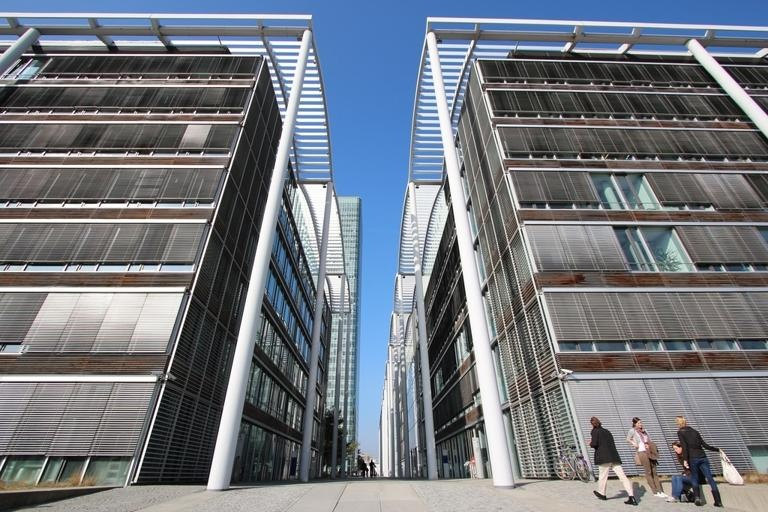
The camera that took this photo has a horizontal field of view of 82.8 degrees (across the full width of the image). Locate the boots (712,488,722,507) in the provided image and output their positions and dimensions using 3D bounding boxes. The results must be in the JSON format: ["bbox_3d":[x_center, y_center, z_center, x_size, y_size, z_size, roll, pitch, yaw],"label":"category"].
[{"bbox_3d":[9.764,6.595,11.800,0.248,0.376,0.406,-24,-41,27],"label":"boots"}]

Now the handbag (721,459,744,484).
[{"bbox_3d":[10.864,6.258,12.602,0.361,0.662,0.665,-26,-42,28],"label":"handbag"}]

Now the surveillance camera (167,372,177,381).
[{"bbox_3d":[-9.599,5.130,18.524,0.418,0.116,0.371,13,-1,-19],"label":"surveillance camera"}]

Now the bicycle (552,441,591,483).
[{"bbox_3d":[8.136,8.113,16.900,0.949,0.875,1.594,11,-34,-2],"label":"bicycle"}]

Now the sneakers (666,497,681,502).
[{"bbox_3d":[8.697,6.700,12.004,0.405,0.126,0.129,-1,-13,6],"label":"sneakers"}]

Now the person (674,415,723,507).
[{"bbox_3d":[9.434,5.701,12.115,0.949,2.261,1.164,-21,-41,23],"label":"person"}]
